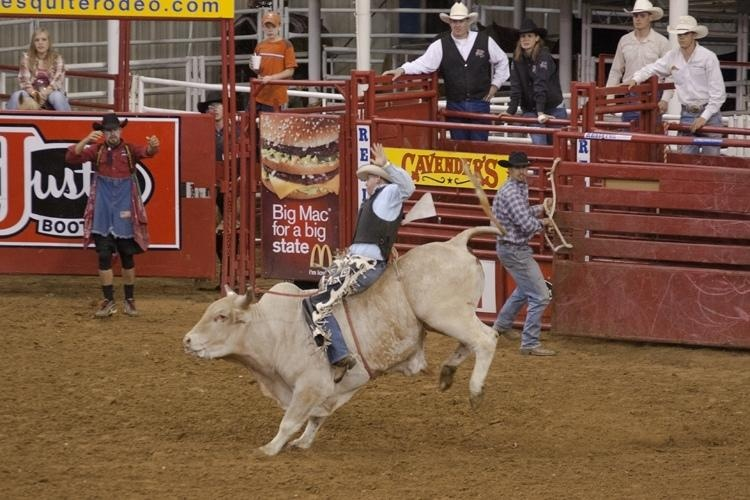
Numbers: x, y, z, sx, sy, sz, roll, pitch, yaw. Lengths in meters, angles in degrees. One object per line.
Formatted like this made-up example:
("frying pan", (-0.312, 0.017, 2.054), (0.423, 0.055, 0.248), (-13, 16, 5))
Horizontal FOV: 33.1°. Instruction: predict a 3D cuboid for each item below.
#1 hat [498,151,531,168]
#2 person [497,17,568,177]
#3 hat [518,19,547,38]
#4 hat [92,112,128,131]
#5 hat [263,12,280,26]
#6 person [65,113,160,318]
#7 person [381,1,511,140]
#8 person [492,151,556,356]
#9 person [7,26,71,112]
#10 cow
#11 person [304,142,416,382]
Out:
("hat", (1.813, -1.191, 16.651), (0.380, 0.157, 0.426), (-4, -4, -6))
("person", (2.184, -2.272, 19.054), (1.223, 2.349, 1.124), (1, -2, 16))
("hat", (2.363, -3.346, 19.122), (0.421, 0.256, 0.574), (2, 12, 6))
("hat", (-3.733, -1.800, 17.817), (0.349, 0.150, 0.376), (-6, -6, -9))
("hat", (-1.634, -3.656, 20.026), (0.202, 0.153, 0.269), (5, -11, 9))
("person", (-3.612, -0.488, 17.661), (1.082, 2.816, 0.520), (-1, 12, -9))
("person", (1.281, -2.680, 19.192), (1.628, 2.061, 0.722), (-2, 12, -10))
("person", (1.981, 0.030, 16.553), (1.143, 2.340, 0.948), (-1, 2, -31))
("person", (-5.120, -2.747, 19.306), (0.716, 1.196, 0.362), (-1, 12, -6))
("cow", (-0.209, 0.884, 14.332), (5.739, 2.882, 2.380), (-3, -7, 17))
("person", (-0.211, 0.095, 14.205), (1.168, 2.491, 0.469), (-7, 14, -31))
